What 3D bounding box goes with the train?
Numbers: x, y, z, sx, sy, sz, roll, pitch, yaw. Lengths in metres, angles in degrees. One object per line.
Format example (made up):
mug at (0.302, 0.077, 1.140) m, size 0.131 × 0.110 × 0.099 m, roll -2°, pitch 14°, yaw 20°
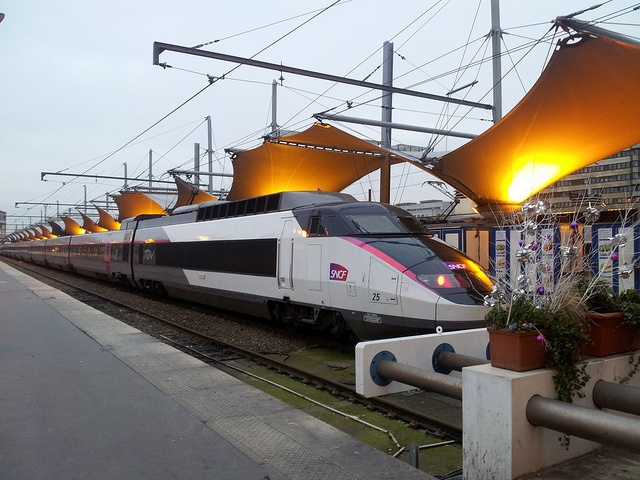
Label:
train at (-8.089, 0.060, 21.135) m, size 4.010 × 3.295 × 34.040 m, roll -5°, pitch 7°, yaw -43°
